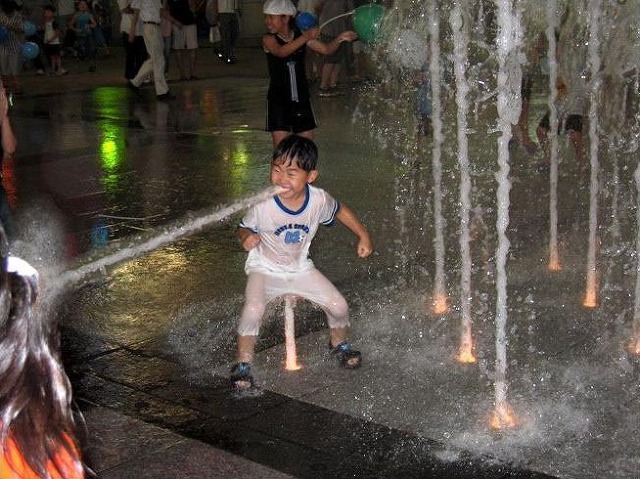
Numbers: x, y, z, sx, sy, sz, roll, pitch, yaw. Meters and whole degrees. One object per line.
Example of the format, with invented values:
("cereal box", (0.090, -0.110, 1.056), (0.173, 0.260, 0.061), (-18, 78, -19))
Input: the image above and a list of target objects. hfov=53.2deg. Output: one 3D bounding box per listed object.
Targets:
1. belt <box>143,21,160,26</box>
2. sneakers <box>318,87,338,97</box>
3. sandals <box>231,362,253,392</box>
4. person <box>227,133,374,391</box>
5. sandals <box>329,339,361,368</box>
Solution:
("belt", (-3.132, -4.020, 11.871), (0.296, 0.095, 0.143), (-4, 13, -23))
("sneakers", (0.148, -2.868, 12.341), (0.441, 0.194, 0.165), (3, 11, 25))
("sandals", (-0.423, 0.727, 3.484), (0.107, 0.158, 0.063), (-10, 18, 12))
("person", (-0.095, 0.096, 3.626), (0.759, 1.346, 0.602), (1, 11, -1))
("sandals", (0.146, 0.661, 3.767), (0.087, 0.087, 0.203), (-23, 21, -26))
